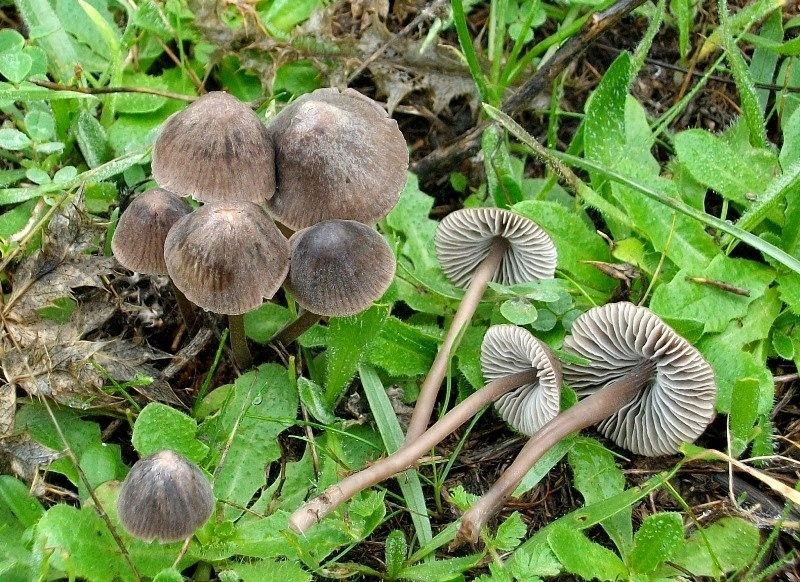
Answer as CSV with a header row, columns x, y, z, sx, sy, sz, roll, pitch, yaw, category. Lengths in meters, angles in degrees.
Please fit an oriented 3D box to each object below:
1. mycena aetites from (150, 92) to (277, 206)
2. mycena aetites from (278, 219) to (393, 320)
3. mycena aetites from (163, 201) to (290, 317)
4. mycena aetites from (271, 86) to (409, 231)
x,y,z,sx,sy,sz,roll,pitch,yaw,category
-0.741,-0.480,3.023,0.403,0.358,0.445,-8,71,-23,mycena aetites
-0.225,-0.093,2.902,0.406,0.202,0.318,-8,67,0,mycena aetites
-0.631,-0.117,2.811,0.454,0.247,0.373,-16,67,-3,mycena aetites
-0.252,-0.530,3.022,0.561,0.245,0.529,-7,68,0,mycena aetites
